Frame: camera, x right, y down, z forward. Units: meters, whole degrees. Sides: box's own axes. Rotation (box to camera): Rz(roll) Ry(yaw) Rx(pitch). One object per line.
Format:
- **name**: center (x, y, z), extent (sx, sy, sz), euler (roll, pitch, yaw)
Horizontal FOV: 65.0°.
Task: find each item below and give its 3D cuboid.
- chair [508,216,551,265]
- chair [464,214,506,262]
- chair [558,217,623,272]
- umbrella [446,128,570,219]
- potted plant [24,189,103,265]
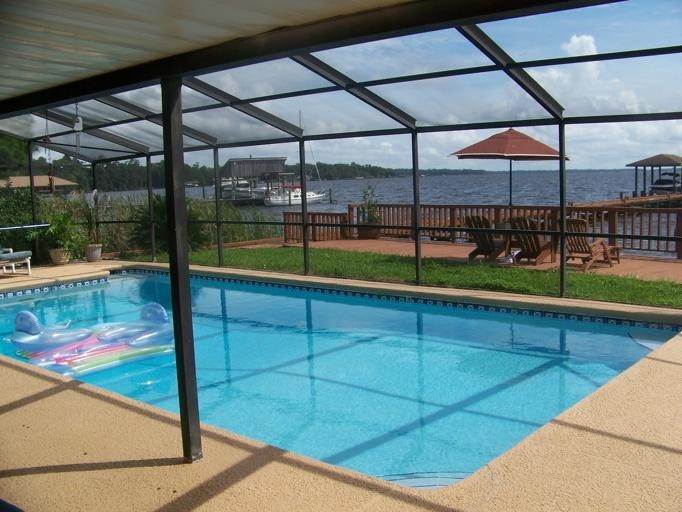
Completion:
- **chair**: center (3.742, -0.229, 10.478), extent (0.789, 0.939, 2.743), euler (0, 10, 17)
- **chair**: center (3.147, -0.344, 11.543), extent (0.813, 0.774, 0.998), euler (-14, -18, 28)
- **chair**: center (4.690, -0.194, 10.166), extent (1.143, 0.664, 0.650), euler (2, 0, -31)
- **umbrella**: center (3.560, -1.762, 11.375), extent (2.351, 1.216, 2.206), euler (6, 11, 32)
- **potted plant**: center (-6.924, -0.810, 13.961), extent (2.267, 1.836, 2.285), euler (5, 8, 44)
